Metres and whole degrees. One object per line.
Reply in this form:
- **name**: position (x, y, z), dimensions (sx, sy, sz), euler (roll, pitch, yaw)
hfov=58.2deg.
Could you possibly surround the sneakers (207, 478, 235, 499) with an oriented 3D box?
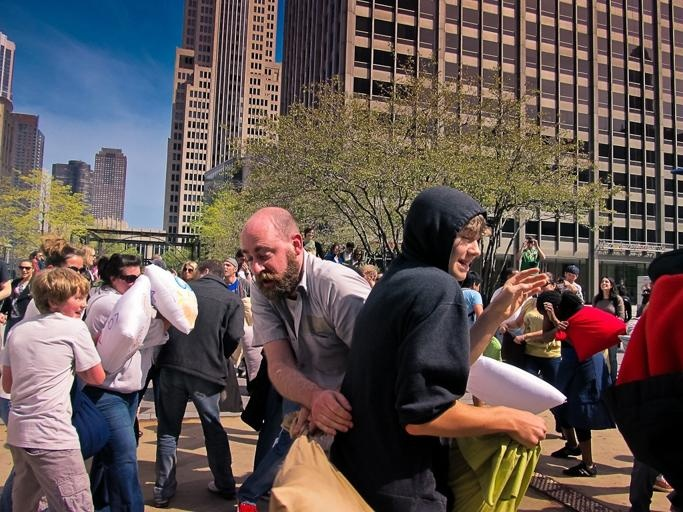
- **sneakers**: position (-1.231, 2.371, 6.236), dimensions (0.312, 0.132, 0.117), euler (16, 7, 43)

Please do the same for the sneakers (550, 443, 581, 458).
- **sneakers**: position (2.686, 2.361, 7.476), dimensions (0.428, 0.194, 0.149), euler (-3, -3, 3)

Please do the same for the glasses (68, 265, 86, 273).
- **glasses**: position (-2.796, 0.136, 6.458), dimensions (0.101, 0.035, 0.099), euler (8, -1, 17)

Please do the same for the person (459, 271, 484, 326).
- **person**: position (1.758, 0.553, 8.689), dimensions (0.304, 0.298, 0.889), euler (26, -21, 31)

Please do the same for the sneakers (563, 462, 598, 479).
- **sneakers**: position (2.694, 2.399, 6.894), dimensions (0.384, 0.171, 0.144), euler (1, -7, 4)
